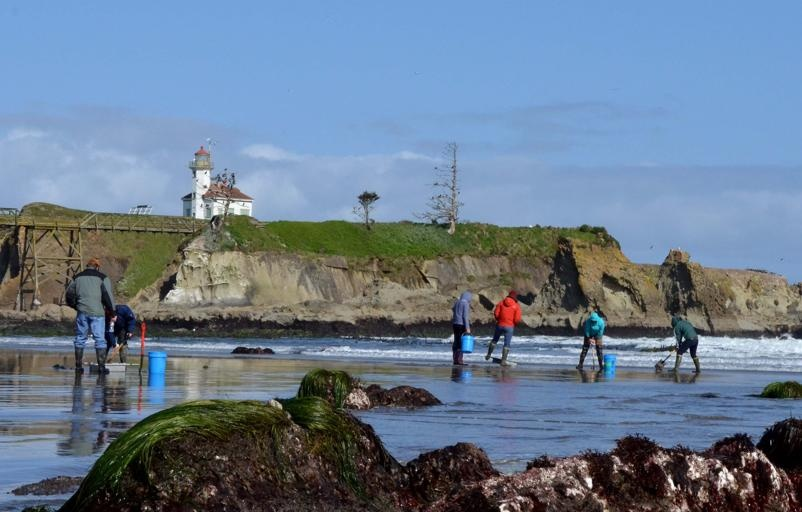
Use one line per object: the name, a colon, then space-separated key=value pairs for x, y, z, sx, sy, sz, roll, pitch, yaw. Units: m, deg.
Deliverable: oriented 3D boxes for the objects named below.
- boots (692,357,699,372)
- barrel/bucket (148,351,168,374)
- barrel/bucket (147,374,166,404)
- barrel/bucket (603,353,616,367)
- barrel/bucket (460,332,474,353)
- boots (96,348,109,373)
boots: x=15.651 y=5.812 z=90.336 sx=0.298 sy=0.788 sz=1.155 roll=-3 pitch=-6 yaw=11
barrel/bucket: x=-12.005 y=5.264 z=84.034 sx=0.999 sy=1.110 sz=1.026 roll=0 pitch=-4 yaw=0
barrel/bucket: x=-11.852 y=6.381 z=81.750 sx=0.838 sy=1.520 sz=3.658 roll=-1 pitch=-6 yaw=-8
barrel/bucket: x=11.063 y=5.568 z=90.087 sx=0.615 sy=0.702 sz=0.635 roll=0 pitch=-4 yaw=0
barrel/bucket: x=3.599 y=4.684 z=90.573 sx=0.868 sy=0.989 sz=0.899 roll=1 pitch=-15 yaw=0
boots: x=-14.861 y=5.198 z=84.217 sx=0.619 sy=1.248 sz=0.499 roll=0 pitch=-6 yaw=-18
